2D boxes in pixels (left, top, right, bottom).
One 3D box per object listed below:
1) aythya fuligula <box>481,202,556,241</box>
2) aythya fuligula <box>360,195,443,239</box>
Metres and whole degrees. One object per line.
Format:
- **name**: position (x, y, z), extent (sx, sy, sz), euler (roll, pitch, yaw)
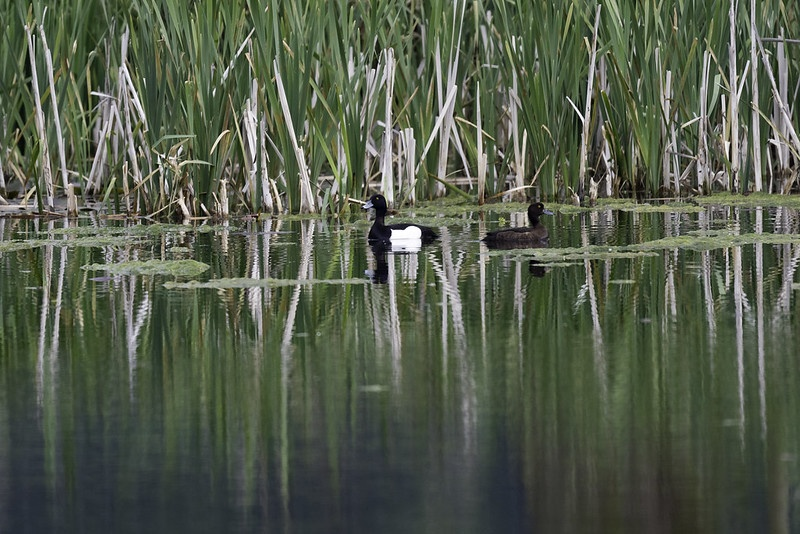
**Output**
- **aythya fuligula**: position (1.284, -0.439, 12.839), extent (0.567, 0.240, 1.161), euler (5, 21, 24)
- **aythya fuligula**: position (-0.022, -0.485, 12.974), extent (0.912, 0.660, 0.339), euler (3, -2, -1)
